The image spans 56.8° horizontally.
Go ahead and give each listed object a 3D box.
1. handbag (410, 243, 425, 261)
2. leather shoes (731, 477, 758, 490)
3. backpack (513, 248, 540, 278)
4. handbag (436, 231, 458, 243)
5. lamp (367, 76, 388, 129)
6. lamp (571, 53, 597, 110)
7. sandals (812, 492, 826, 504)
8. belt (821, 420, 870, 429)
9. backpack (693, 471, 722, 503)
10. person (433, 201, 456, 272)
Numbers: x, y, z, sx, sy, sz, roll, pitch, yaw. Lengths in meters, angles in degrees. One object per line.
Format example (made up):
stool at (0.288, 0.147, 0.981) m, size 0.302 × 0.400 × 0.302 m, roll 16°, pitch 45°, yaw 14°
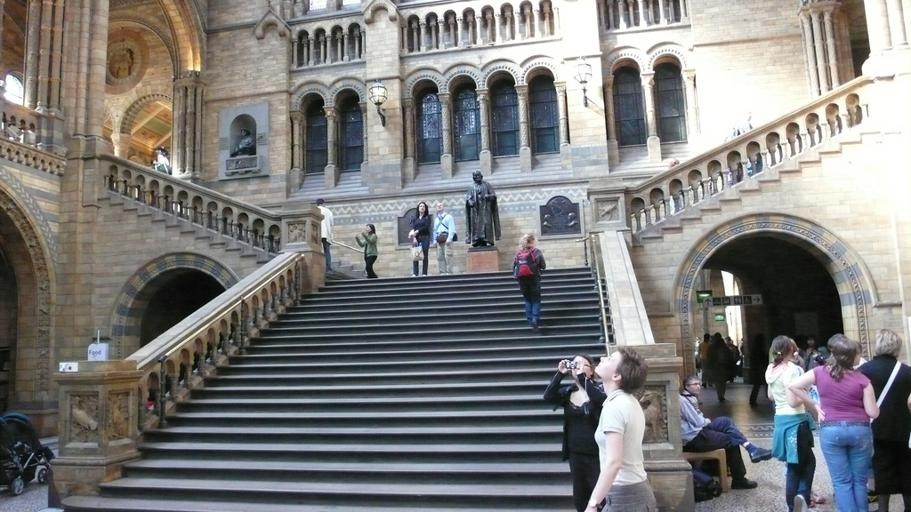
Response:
handbag at (-1.185, -0.160, 26.407) m, size 0.636 × 0.719 × 0.346 m, roll 0°, pitch -18°, yaw -2°
leather shoes at (6.420, 5.053, 18.795) m, size 0.593 × 0.198 × 0.221 m, roll -1°, pitch -1°, yaw 4°
backpack at (1.808, 0.173, 21.215) m, size 0.715 × 0.700 × 0.419 m, roll -4°, pitch -29°, yaw 13°
handbag at (-0.298, -0.609, 26.006) m, size 0.318 × 0.367 × 0.694 m, roll 4°, pitch -9°, yaw -40°
lamp at (-2.800, -5.682, 30.482) m, size 0.722 × 1.738 × 1.061 m, roll -1°, pitch -7°, yaw -5°
lamp at (4.546, -6.073, 29.383) m, size 0.741 × 1.737 × 1.047 m, roll -4°, pitch -7°, yaw 16°
sandals at (7.832, 5.165, 17.990) m, size 0.345 × 0.082 × 0.182 m, roll -16°, pitch 4°, yaw 16°
belt at (7.811, 3.389, 16.899) m, size 0.899 × 0.215 × 0.177 m, roll -3°, pitch -7°, yaw 16°
backpack at (5.458, 4.989, 18.379) m, size 0.768 × 0.246 × 0.601 m, roll 3°, pitch 4°, yaw 43°
person at (-0.347, -0.550, 26.130) m, size 0.557 × 2.235 × 1.108 m, roll -1°, pitch -7°, yaw -9°
